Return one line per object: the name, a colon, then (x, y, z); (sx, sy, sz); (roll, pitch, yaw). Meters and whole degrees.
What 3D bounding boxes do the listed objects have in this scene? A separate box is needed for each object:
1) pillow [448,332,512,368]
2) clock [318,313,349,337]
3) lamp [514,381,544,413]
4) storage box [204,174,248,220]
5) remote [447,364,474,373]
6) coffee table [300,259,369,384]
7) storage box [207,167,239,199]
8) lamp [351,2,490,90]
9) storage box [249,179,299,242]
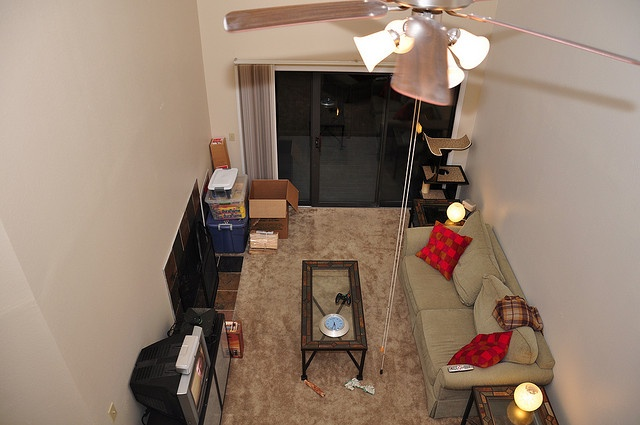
pillow: (1.854, 1.531, 5.071); (0.667, 0.184, 0.689); (-28, 0, 32)
clock: (0.174, 1.337, 5.302); (0.348, 0.148, 0.251); (1, 22, 2)
lamp: (2.145, 1.822, 4.504); (0.143, 0.253, 0.244); (13, 2, -16)
storage box: (-1.344, -0.204, 7.020); (0.489, 0.341, 0.673); (2, 45, 3)
remote: (1.527, 1.687, 4.870); (0.190, 0.047, 0.111); (0, 33, 4)
coffee table: (0.156, 1.325, 5.737); (0.805, 0.649, 1.368); (2, 41, 0)
storage box: (-1.468, -0.467, 6.802); (0.380, 0.202, 0.604); (0, 41, 3)
lamp: (0.526, -0.970, 2.711); (0.666, 0.281, 0.659); (41, 25, 20)
storage box: (-0.740, -0.045, 7.279); (0.776, 0.841, 0.637); (-2, 23, -5)
